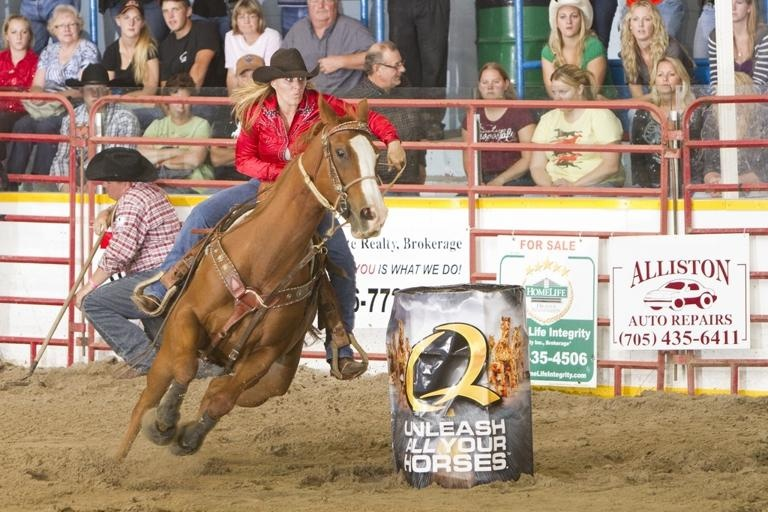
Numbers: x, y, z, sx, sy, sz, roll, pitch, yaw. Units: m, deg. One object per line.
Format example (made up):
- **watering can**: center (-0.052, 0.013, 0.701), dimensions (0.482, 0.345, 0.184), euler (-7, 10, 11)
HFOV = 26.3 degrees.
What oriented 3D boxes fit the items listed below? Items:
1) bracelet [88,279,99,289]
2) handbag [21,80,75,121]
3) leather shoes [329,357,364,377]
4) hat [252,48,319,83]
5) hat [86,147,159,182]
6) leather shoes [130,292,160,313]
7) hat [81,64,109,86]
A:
- **bracelet**: center (-3.351, 0.319, 19.231), dimensions (0.089, 0.114, 0.045), euler (1, 1, -1)
- **handbag**: center (-4.050, -1.879, 20.125), dimensions (0.744, 0.316, 0.555), euler (-5, -11, 37)
- **leather shoes**: center (-0.391, 1.209, 17.819), dimensions (0.328, 0.131, 0.184), euler (-6, -31, -2)
- **hat**: center (-1.007, -1.946, 17.030), dimensions (0.404, 0.187, 0.496), euler (-3, -8, -42)
- **hat**: center (-3.050, -1.050, 19.198), dimensions (0.579, 0.195, 0.473), euler (5, 16, 12)
- **leather shoes**: center (-2.516, 0.463, 17.533), dimensions (0.253, 0.182, 0.105), euler (20, 44, 13)
- **hat**: center (-3.577, -2.281, 20.629), dimensions (0.357, 0.287, 0.509), euler (1, 3, -10)
